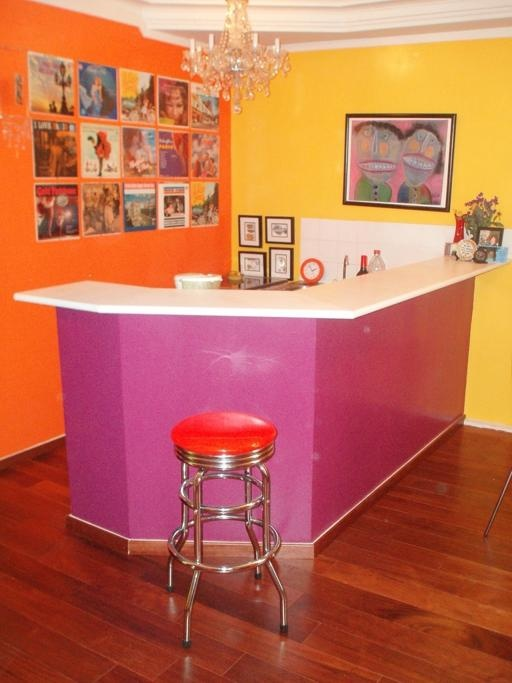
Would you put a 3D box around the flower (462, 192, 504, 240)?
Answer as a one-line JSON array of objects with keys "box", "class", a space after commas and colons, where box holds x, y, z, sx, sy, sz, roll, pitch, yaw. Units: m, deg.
[{"box": [1.425, -0.771, 3.632, 0.258, 0.334, 0.293, 2, 0, 41], "class": "flower"}]

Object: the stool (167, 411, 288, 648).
[{"box": [-0.103, 0.583, 1.917, 0.421, 0.690, 0.641, 0, 8, -3], "class": "stool"}]

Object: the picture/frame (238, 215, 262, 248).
[{"box": [-0.045, -0.937, 4.780, 0.244, 0.296, 0.021, 7, 14, 29], "class": "picture/frame"}]

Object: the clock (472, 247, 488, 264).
[{"box": [1.384, -0.527, 3.480, 0.079, 0.098, 0.058, 2, 8, 15], "class": "clock"}]

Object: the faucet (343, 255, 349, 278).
[{"box": [0.692, -0.576, 4.370, 0.044, 0.170, 0.118, 1, 8, 7], "class": "faucet"}]

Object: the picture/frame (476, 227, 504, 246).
[{"box": [1.475, -0.660, 3.549, 0.117, 0.107, 0.013, 1, 6, 27], "class": "picture/frame"}]

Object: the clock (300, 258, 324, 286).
[{"box": [0.439, -0.553, 4.508, 0.203, 0.216, 0.123, 3, 8, 18], "class": "clock"}]

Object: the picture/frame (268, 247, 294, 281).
[{"box": [0.215, -0.652, 4.707, 0.243, 0.294, 0.022, 12, 20, 32], "class": "picture/frame"}]

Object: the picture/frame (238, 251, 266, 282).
[{"box": [-0.026, -0.640, 4.834, 0.240, 0.240, 0.017, 14, 21, 30], "class": "picture/frame"}]

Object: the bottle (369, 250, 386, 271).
[{"box": [0.829, -0.557, 3.925, 0.103, 0.150, 0.165, 3, 8, 20], "class": "bottle"}]

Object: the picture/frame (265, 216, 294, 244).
[{"box": [0.199, -0.917, 4.624, 0.220, 0.197, 0.017, 8, 17, 37], "class": "picture/frame"}]

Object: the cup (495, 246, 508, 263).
[{"box": [1.543, -0.543, 3.552, 0.078, 0.121, 0.071, -10, 16, -22], "class": "cup"}]

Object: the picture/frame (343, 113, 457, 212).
[{"box": [1.032, -1.256, 3.922, 0.698, 0.567, 0.028, 14, 20, 36], "class": "picture/frame"}]
